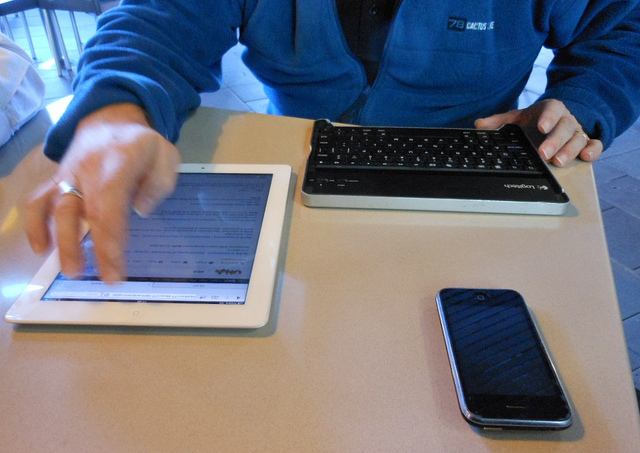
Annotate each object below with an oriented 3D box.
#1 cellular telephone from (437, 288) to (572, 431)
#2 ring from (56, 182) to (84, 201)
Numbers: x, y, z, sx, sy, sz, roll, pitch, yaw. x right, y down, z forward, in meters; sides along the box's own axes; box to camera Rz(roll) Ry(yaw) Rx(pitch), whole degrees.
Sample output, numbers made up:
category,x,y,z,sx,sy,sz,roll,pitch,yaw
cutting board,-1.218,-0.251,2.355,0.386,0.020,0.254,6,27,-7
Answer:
category,x,y,z,sx,sy,sz,roll,pitch,yaw
cellular telephone,0.246,0.178,0.706,0.134,0.025,0.235,0,35,3
ring,-0.386,-0.054,0.790,0.041,0.015,0.025,7,54,17
